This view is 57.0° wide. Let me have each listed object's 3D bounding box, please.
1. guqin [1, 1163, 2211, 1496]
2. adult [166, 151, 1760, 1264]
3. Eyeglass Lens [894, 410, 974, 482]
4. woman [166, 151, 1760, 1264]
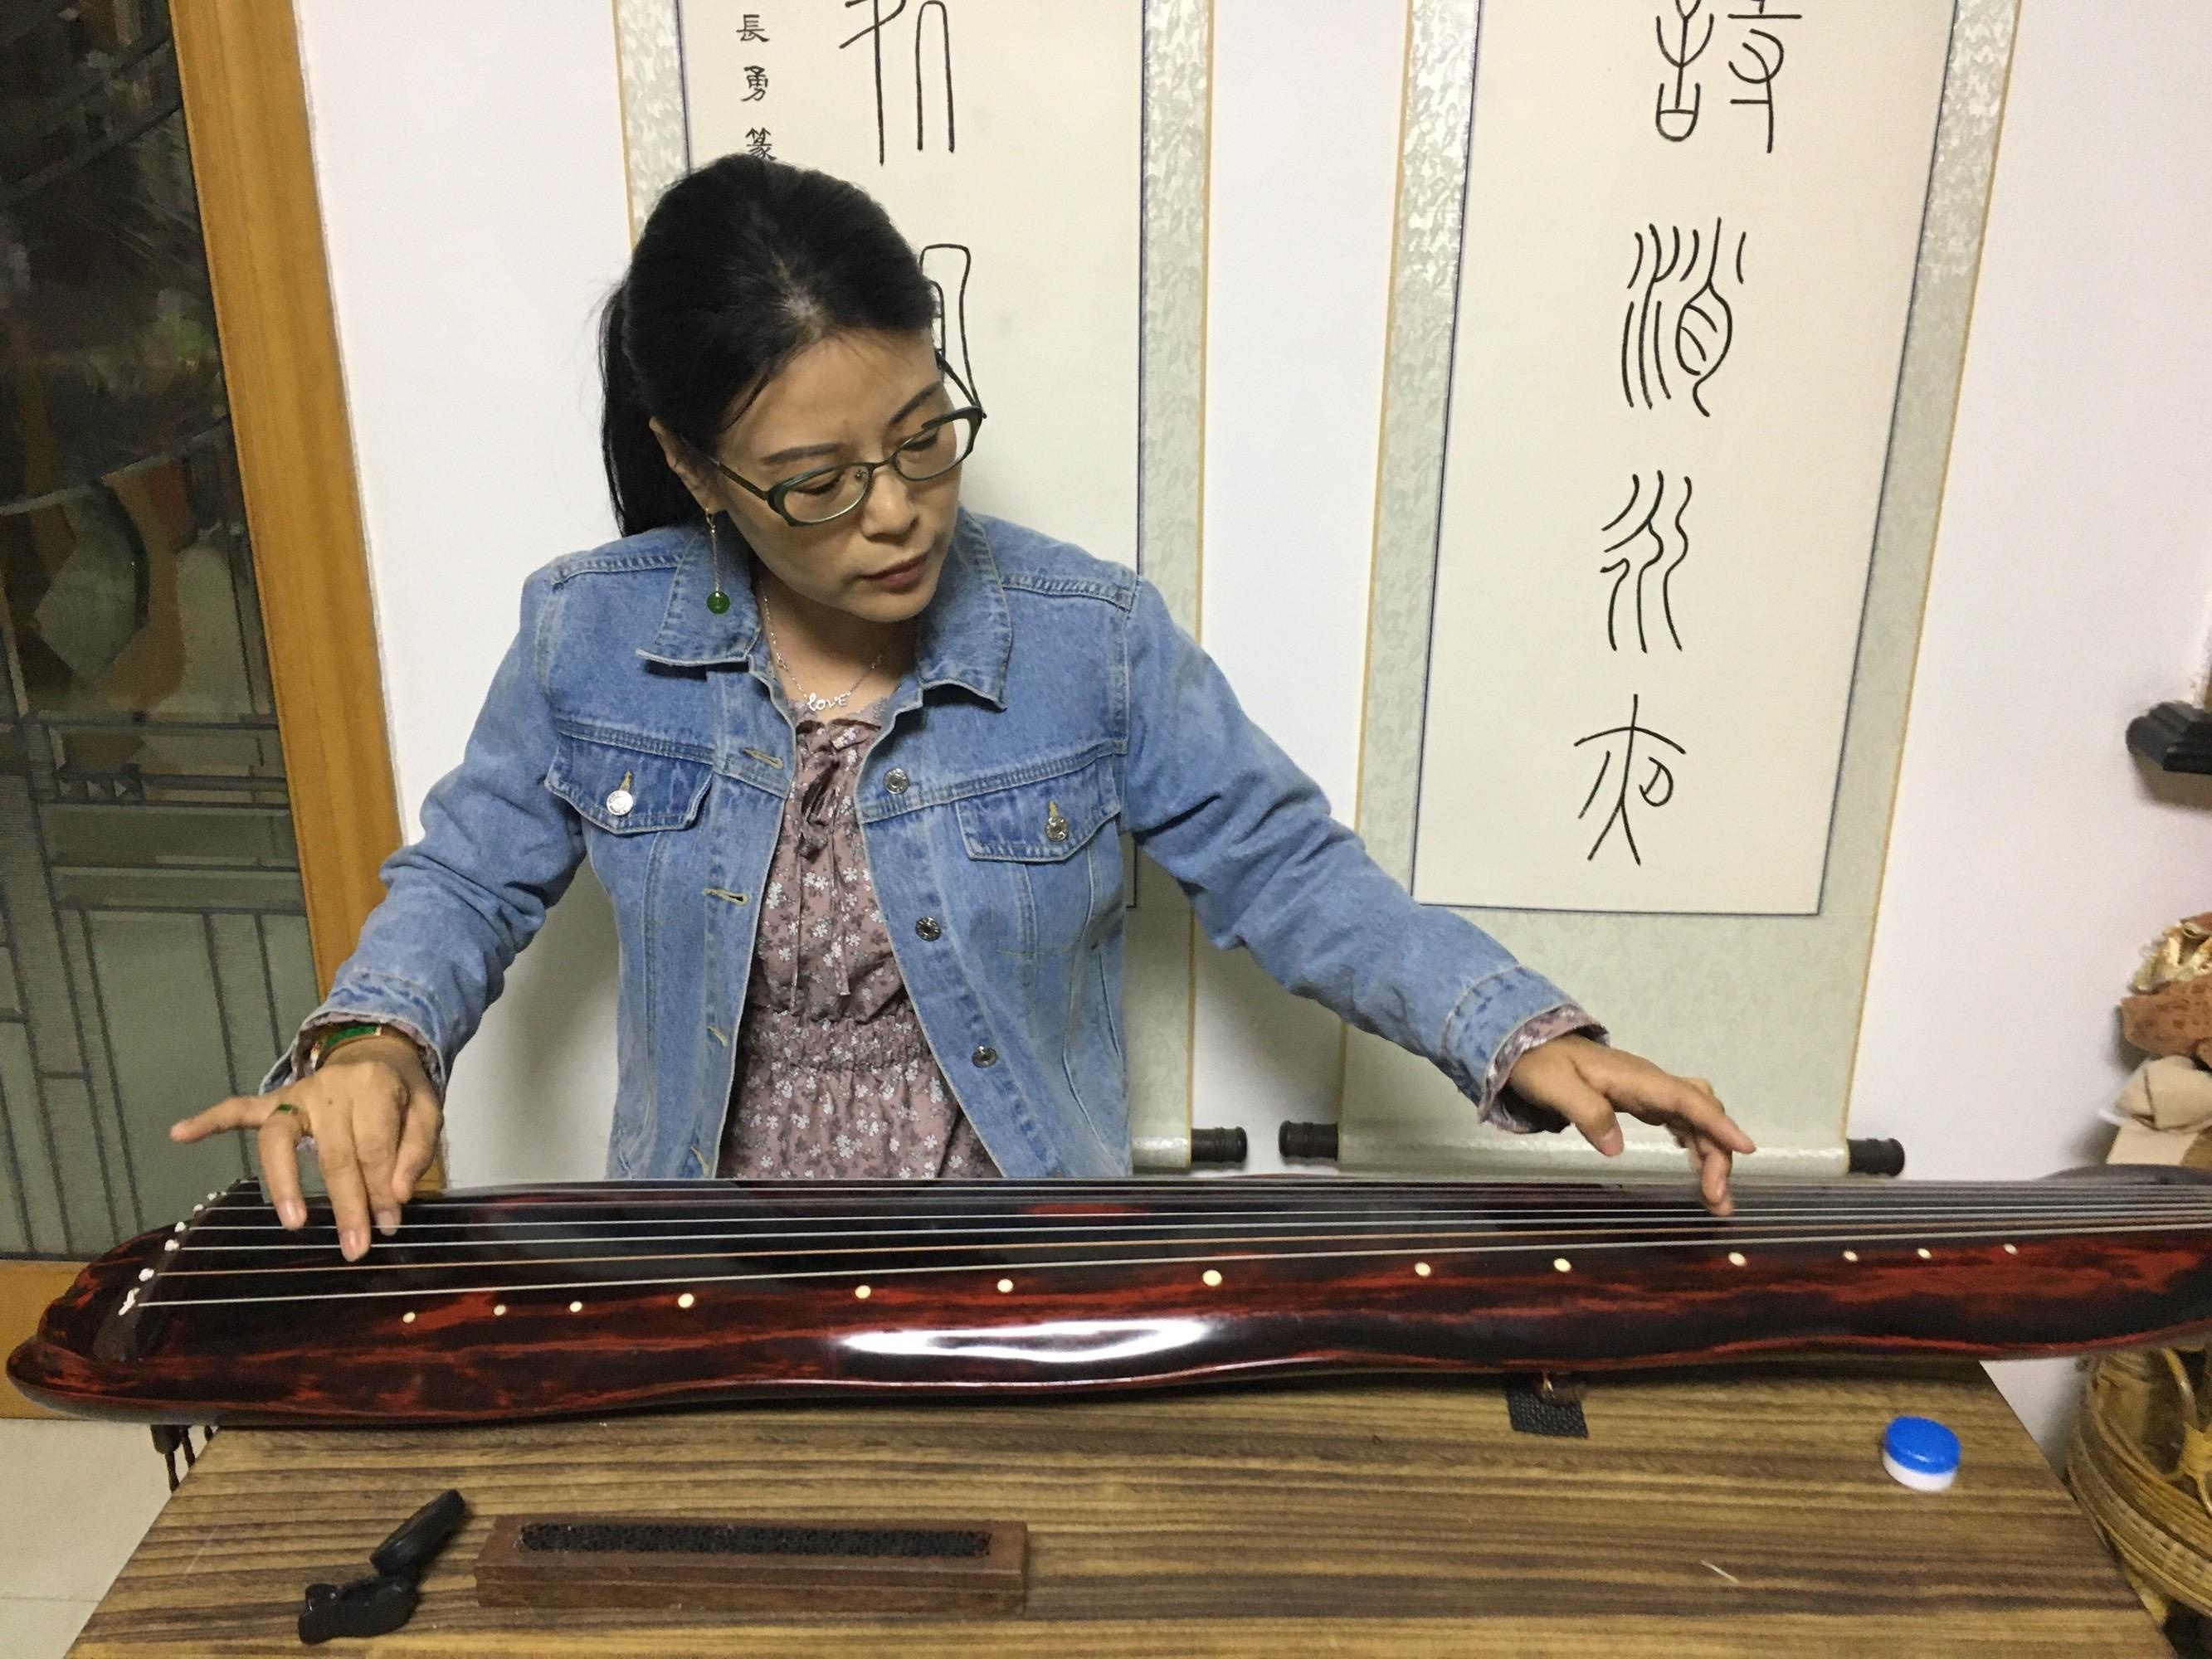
[{"bbox_3d":[0.021,0.466,1.893,1.858,0.146,0.375,-1,17,2],"label":"guqin"},{"bbox_3d":[-0.126,-0.185,2.313,1.088,1.280,0.593,-5,38,-6],"label":"adult"},{"bbox_3d":[-0.174,-0.383,2.058,0.087,0.027,0.084,-20,16,25],"label":"Eyeglass Lens"},{"bbox_3d":[-0.126,-0.185,2.313,1.088,1.280,0.593,-5,38,-6],"label":"woman"}]
